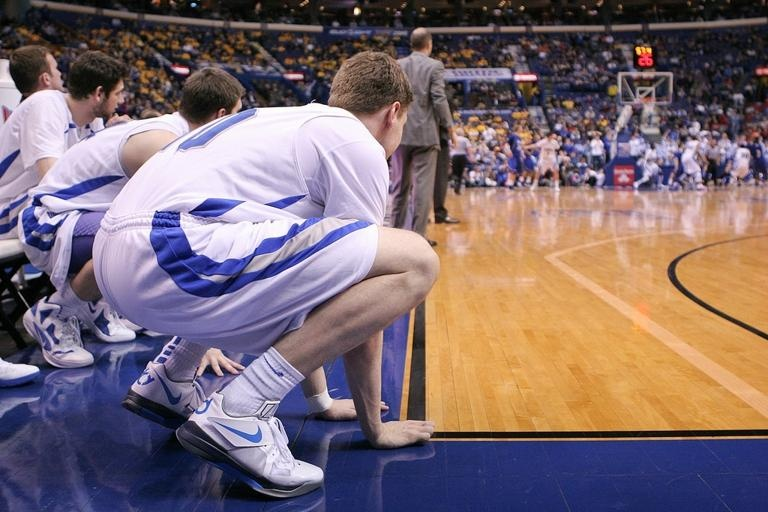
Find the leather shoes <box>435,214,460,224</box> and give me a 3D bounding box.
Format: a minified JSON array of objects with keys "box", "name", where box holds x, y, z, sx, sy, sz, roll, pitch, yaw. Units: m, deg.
[{"box":[0.760,-0.434,7.613,0.314,0.142,0.120,-3,8,-1],"name":"leather shoes"}]
